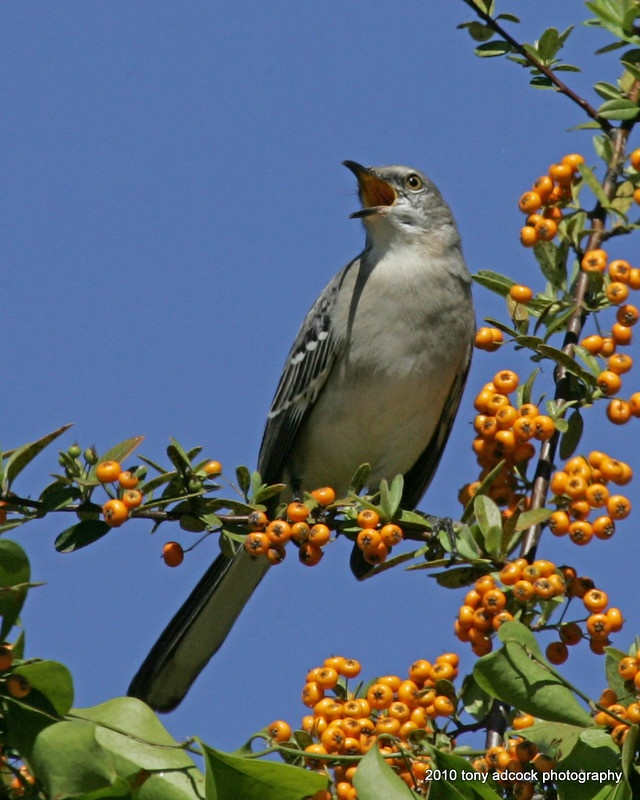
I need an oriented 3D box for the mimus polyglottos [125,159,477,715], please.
[{"bbox_3d":[0.015,0.383,5.982,0.679,1.174,2.067,24,-62,-22],"label":"mimus polyglottos"}]
